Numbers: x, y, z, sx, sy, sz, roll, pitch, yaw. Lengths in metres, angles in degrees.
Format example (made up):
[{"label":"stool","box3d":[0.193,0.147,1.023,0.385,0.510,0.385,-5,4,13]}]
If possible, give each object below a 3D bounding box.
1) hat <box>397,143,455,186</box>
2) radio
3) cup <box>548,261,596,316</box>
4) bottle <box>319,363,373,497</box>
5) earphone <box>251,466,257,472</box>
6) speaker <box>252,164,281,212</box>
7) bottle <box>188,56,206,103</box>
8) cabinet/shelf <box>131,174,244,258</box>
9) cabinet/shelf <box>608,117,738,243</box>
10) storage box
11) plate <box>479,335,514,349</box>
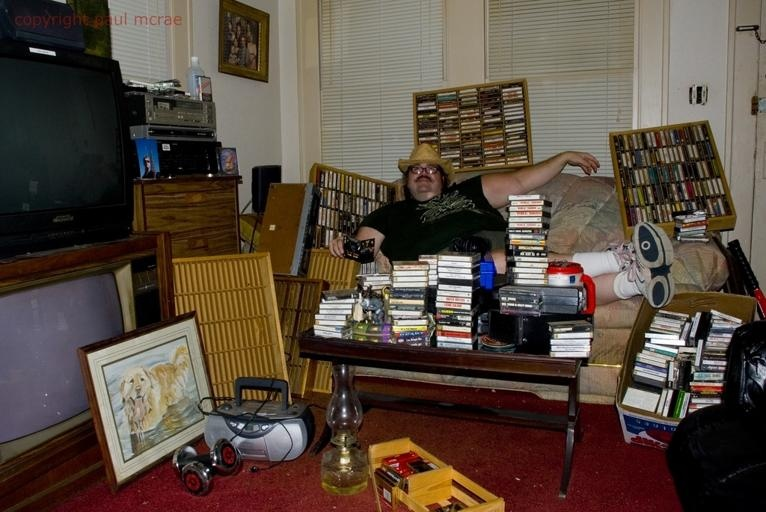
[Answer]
[{"label":"hat","box3d":[0.322,-0.706,3.932,0.455,0.184,0.528,-1,-7,20]},{"label":"radio","box3d":[-0.616,0.874,2.696,0.501,0.260,0.274,1,6,5]},{"label":"cup","box3d":[0.872,0.168,2.495,0.231,0.214,0.146,5,0,19]},{"label":"bottle","box3d":[-0.184,0.794,2.463,0.221,0.585,0.147,-3,9,-9]},{"label":"earphone","box3d":[-0.619,1.028,2.572,0.029,0.029,0.029,-23,-34,32]},{"label":"speaker","box3d":[-0.911,-0.508,4.227,0.224,0.366,0.254,2,4,1]},{"label":"bottle","box3d":[-1.297,-1.225,3.703,0.099,0.299,0.326,-5,10,-16]},{"label":"cabinet/shelf","box3d":[-1.107,-0.229,3.302,0.578,0.520,0.248,0,17,13]},{"label":"cabinet/shelf","box3d":[1.843,-0.513,3.331,0.794,0.864,0.207,-7,-12,6]},{"label":"storage box","box3d":[1.576,0.557,2.869,0.559,0.868,0.378,17,-3,36]},{"label":"plate","box3d":[0.502,0.399,2.423,0.089,0.027,0.168,-10,13,-43]}]
